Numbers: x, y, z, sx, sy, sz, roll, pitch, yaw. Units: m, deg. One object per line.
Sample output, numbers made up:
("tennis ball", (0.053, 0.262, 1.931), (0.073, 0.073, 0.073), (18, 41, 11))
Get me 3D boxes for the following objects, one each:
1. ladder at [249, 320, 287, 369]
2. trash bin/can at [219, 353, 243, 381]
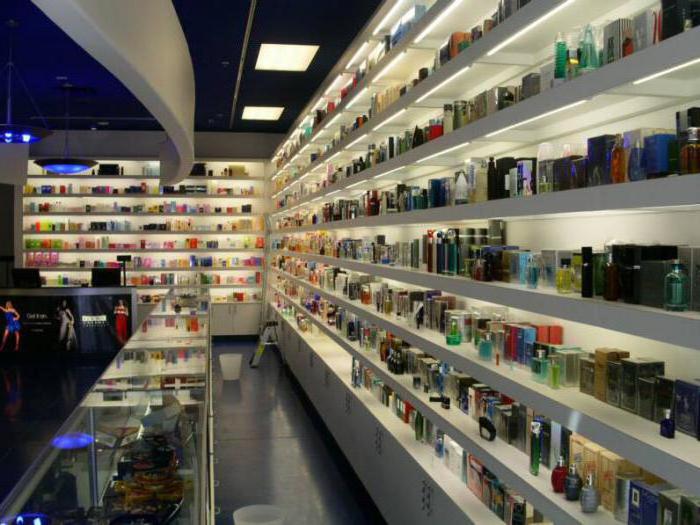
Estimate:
("ladder", (-1.453, 1.303, 9.664), (0.603, 0.950, 0.624), (10, 9, -13))
("trash bin/can", (-1.743, 1.537, 8.454), (0.340, 0.350, 0.343), (-1, 0, 1))
